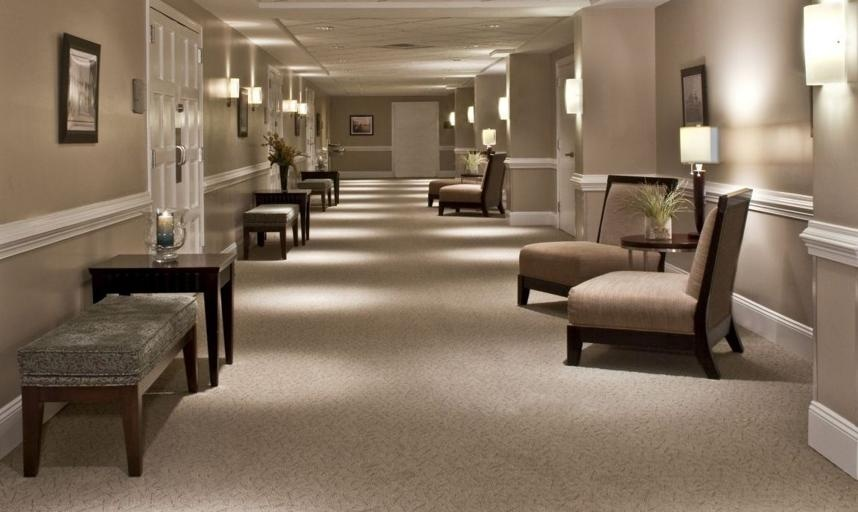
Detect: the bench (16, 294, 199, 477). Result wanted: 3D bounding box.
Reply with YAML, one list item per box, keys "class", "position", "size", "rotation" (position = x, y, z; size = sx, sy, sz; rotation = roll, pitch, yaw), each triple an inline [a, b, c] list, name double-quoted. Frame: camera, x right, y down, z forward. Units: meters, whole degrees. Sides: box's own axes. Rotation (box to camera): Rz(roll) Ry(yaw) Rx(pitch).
- class: "bench"
  position: [-2.016, 0.712, 3.897]
  size: [0.651, 0.613, 1.415]
  rotation: [2, 8, -9]

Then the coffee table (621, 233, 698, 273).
- class: "coffee table"
  position: [2.052, -0.115, 5.342]
  size: [0.522, 0.371, 0.513]
  rotation: [-3, 8, -6]

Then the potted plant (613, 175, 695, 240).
- class: "potted plant"
  position: [2.127, -0.380, 5.440]
  size: [0.524, 0.393, 0.510]
  rotation: [7, 4, 34]

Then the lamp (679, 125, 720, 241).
- class: "lamp"
  position: [2.626, -0.733, 5.780]
  size: [0.466, 1.015, 0.450]
  rotation: [-4, 3, -29]

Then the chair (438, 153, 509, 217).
- class: "chair"
  position: [0.986, -1.528, 13.005]
  size: [1.368, 1.436, 1.385]
  rotation: [2, 7, 5]

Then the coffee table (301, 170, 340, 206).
- class: "coffee table"
  position: [-2.713, -1.789, 15.205]
  size: [1.023, 0.914, 1.010]
  rotation: [0, 4, 1]

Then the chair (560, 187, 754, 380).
- class: "chair"
  position: [1.921, 0.153, 4.880]
  size: [1.565, 1.221, 1.562]
  rotation: [0, 3, 3]

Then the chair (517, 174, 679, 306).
- class: "chair"
  position: [1.698, -0.140, 6.150]
  size: [1.080, 1.430, 1.217]
  rotation: [1, 4, -24]

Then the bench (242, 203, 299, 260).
- class: "bench"
  position: [-2.352, -0.366, 8.791]
  size: [0.661, 0.699, 0.998]
  rotation: [-1, 13, -1]

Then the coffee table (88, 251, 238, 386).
- class: "coffee table"
  position: [-2.101, 0.482, 4.378]
  size: [0.845, 0.728, 0.752]
  rotation: [4, -13, -44]

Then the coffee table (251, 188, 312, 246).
- class: "coffee table"
  position: [-2.450, -0.681, 9.873]
  size: [0.963, 0.853, 0.955]
  rotation: [0, 10, 0]
